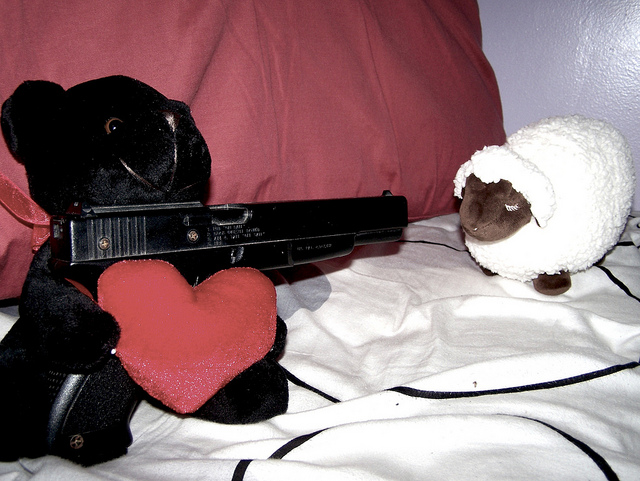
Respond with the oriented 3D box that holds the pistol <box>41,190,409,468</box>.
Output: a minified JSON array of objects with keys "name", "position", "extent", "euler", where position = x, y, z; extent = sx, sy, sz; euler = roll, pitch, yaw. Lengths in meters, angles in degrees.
[{"name":"pistol","position":[-0.157,0.143,0.901],"extent":[0.381,0.050,0.268],"euler":[-4,92,-29]}]

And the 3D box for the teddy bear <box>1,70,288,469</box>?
[{"name":"teddy bear","position":[-0.247,0.080,1.163],"extent":[0.507,0.495,0.763],"euler":[6,77,-45]}]
